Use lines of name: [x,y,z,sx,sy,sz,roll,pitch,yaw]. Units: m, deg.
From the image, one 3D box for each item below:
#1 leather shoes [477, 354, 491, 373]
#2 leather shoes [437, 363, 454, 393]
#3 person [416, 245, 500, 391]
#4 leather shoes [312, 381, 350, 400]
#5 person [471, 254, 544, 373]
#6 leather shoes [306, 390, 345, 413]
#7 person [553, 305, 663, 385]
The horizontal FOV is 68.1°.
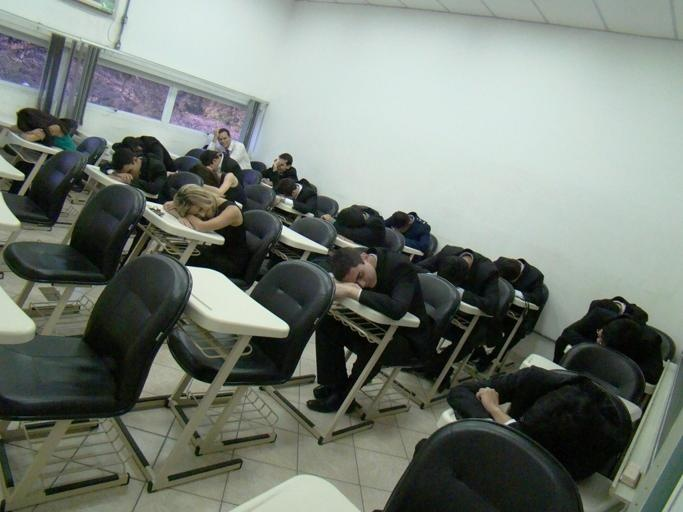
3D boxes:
leather shoes: [1.385,1.041,4.914,0.112,0.206,0.058,18,-12,-9]
leather shoes: [0.907,1.060,4.350,0.167,0.232,0.211,3,-3,42]
person: [0.902,0.499,4.433,0.653,1.172,0.937,14,51,31]
leather shoes: [-0.068,0.905,3.429,0.256,0.109,0.095,3,14,-5]
person: [1.956,0.730,5.423,0.917,1.002,0.764,24,-14,-38]
leather shoes: [-0.097,0.967,3.373,0.292,0.132,0.098,10,11,-26]
person: [2.276,0.660,4.175,0.620,0.319,0.872,31,13,26]
